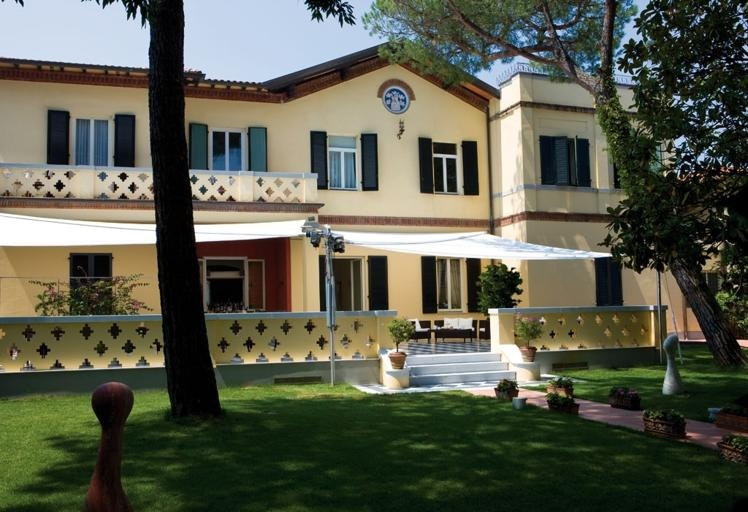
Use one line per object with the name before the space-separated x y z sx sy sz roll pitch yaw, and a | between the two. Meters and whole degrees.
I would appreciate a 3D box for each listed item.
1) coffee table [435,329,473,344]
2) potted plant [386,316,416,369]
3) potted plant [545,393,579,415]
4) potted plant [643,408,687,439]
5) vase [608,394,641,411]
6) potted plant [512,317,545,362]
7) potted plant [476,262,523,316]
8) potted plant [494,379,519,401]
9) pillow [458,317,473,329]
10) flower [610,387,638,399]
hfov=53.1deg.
coffee table | 2.947 2.939 27.939 1.405 0.523 2.533 -3 -6 6
potted plant | 0.653 2.458 21.140 0.816 1.308 0.773 3 -6 -22
potted plant | 4.266 3.410 17.263 0.748 0.454 0.558 -6 -7 28
potted plant | 5.908 3.471 15.396 0.796 0.552 0.376 -5 -6 21
vase | 5.940 3.418 17.783 0.382 0.386 0.574 0 -2 -14
potted plant | 4.607 2.537 22.491 1.000 1.211 0.941 8 -8 -25
potted plant | 4.428 0.998 27.237 1.131 1.649 1.498 -3 10 -27
potted plant | 3.254 3.326 18.615 0.479 0.474 0.493 -1 1 -17
pillow | 3.408 2.527 28.060 0.471 0.581 0.280 -10 -2 13
flower | 5.890 3.270 17.882 0.419 0.209 0.336 1 1 15
